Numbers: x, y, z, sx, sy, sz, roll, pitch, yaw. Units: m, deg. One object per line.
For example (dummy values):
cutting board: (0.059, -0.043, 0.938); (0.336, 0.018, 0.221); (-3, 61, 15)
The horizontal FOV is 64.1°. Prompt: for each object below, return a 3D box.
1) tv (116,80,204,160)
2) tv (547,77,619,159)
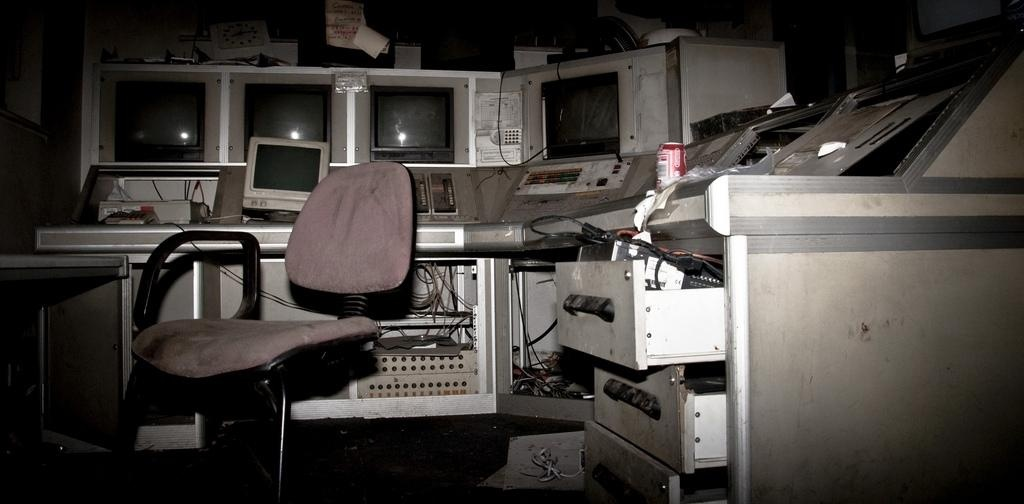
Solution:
tv: (-2.466, -0.927, 5.671); (0.707, 0.510, 0.322); (0, -1, -7)
tv: (0.519, -0.939, 5.705); (0.694, 0.527, 0.338); (-3, -5, 12)
